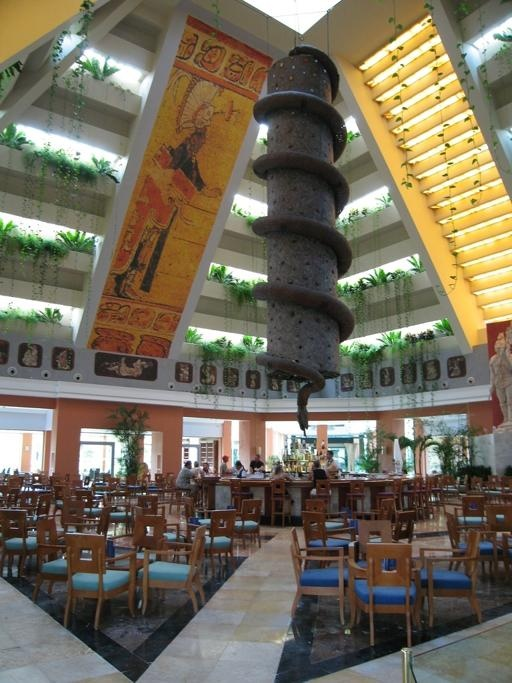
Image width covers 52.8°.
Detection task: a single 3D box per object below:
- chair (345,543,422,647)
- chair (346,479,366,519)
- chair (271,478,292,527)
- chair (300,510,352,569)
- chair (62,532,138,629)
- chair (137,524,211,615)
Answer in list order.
[{"bbox_3d":[1.006,1.922,4.005,0.545,0.734,0.602,-3,-12,19],"label":"chair"},{"bbox_3d":[2.079,3.297,10.783,0.389,0.740,1.564,-3,-9,10],"label":"chair"},{"bbox_3d":[0.521,3.424,10.908,0.458,0.979,0.582,-2,-10,2],"label":"chair"},{"bbox_3d":[0.856,2.410,6.273,0.578,0.635,0.545,1,-13,-4],"label":"chair"},{"bbox_3d":[-1.380,2.016,4.503,0.482,0.685,0.560,-3,-8,7],"label":"chair"},{"bbox_3d":[-0.793,2.144,4.912,0.642,0.727,0.612,-2,-14,14],"label":"chair"}]
